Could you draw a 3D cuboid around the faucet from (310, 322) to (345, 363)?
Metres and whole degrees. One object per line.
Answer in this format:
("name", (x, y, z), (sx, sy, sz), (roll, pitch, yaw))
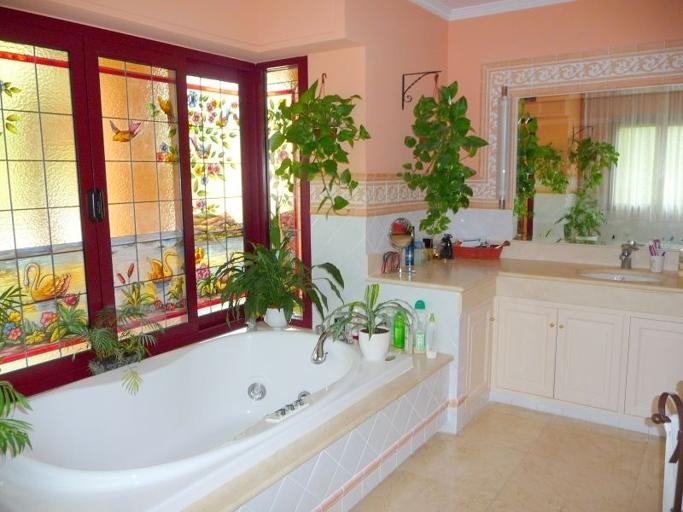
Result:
("faucet", (-0.111, 0.565, 3.101), (0.102, 0.185, 0.312), (15, 27, 30))

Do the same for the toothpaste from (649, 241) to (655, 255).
("toothpaste", (2.325, -0.059, 3.494), (0.023, 0.109, 0.025), (0, -9, 2))

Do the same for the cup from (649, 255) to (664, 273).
("cup", (2.350, 0.057, 3.480), (0.081, 0.140, 0.138), (-1, 0, 23))

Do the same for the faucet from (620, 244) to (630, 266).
("faucet", (2.198, 0.008, 3.600), (0.081, 0.175, 0.145), (8, 15, 31))

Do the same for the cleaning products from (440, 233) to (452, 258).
("cleaning products", (0.941, -0.103, 4.179), (0.112, 0.209, 0.200), (3, 14, 12))

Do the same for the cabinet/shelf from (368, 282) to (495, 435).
("cabinet/shelf", (0.794, 0.734, 3.658), (0.627, 1.024, 0.735), (-2, 0, 34))

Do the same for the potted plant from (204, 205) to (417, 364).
("potted plant", (-0.235, 0.180, 3.452), (1.475, 0.807, 0.825), (13, 15, 22))
